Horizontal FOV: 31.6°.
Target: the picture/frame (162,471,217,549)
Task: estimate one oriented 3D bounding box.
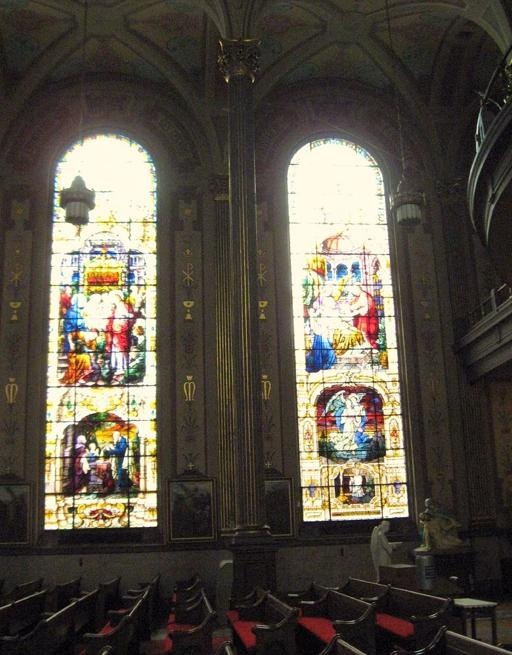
[{"bbox_3d":[-1.067,3.018,14.710,1.373,1.403,0.207,1,-22,-8],"label":"picture/frame"}]

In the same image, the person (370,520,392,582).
[{"bbox_3d":[1.895,3.327,13.592,0.306,0.823,0.593,-2,-12,6],"label":"person"}]
